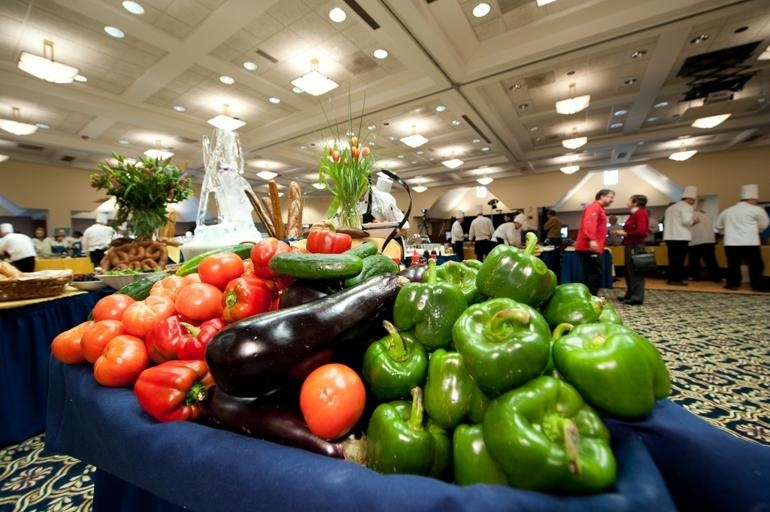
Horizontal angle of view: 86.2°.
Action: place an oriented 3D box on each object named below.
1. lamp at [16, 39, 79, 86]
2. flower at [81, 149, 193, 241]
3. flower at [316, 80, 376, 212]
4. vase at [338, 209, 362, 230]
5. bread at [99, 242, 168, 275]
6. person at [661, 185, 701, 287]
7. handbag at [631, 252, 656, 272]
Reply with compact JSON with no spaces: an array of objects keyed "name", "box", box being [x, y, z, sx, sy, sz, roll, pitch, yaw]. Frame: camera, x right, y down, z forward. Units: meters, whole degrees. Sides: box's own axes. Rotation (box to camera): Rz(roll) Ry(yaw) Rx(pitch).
[{"name":"lamp","box":[-5.958,-3.337,7.082,0.727,0.696,1.173,-1,2,-42]},{"name":"flower","box":[-2.935,-0.691,4.670,0.847,0.970,1.123,4,1,38]},{"name":"flower","box":[-0.350,-0.801,3.706,0.489,1.072,0.440,0,2,-15]},{"name":"vase","box":[-0.307,-0.329,3.562,0.209,0.168,0.185,0,2,-6]},{"name":"bread","box":[-2.455,0.022,3.945,0.405,0.133,0.426,25,38,38]},{"name":"person","box":[6.762,-0.474,9.125,0.743,2.105,0.804,-1,1,-9]},{"name":"handbag","box":[4.335,0.111,6.725,0.326,0.283,0.118,-11,-12,28]}]
